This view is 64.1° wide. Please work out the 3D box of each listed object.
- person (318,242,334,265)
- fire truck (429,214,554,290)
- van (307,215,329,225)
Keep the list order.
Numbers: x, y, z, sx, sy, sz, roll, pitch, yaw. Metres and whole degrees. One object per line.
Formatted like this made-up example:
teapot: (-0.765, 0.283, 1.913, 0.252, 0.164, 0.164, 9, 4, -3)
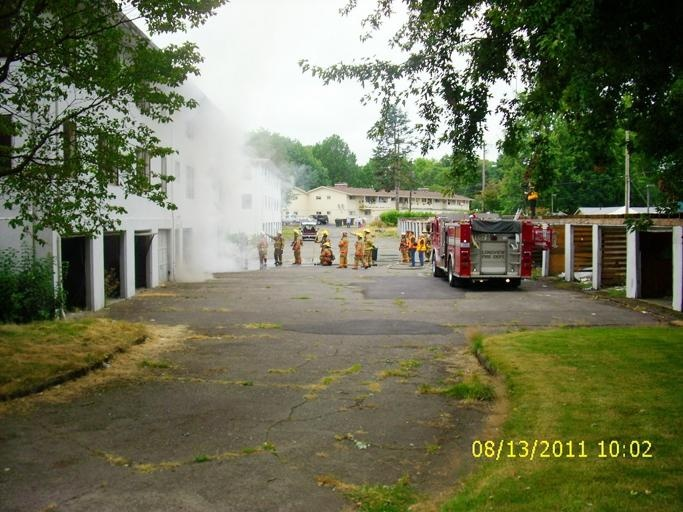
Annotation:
person: (-0.790, -0.156, 30.190, 0.662, 1.355, 1.632, 0, 5, 0)
fire truck: (5.121, -0.259, 20.843, 2.416, 1.867, 4.237, 0, 4, 0)
van: (-4.060, -5.865, 93.931, 2.113, 1.748, 3.641, -6, 13, -36)
